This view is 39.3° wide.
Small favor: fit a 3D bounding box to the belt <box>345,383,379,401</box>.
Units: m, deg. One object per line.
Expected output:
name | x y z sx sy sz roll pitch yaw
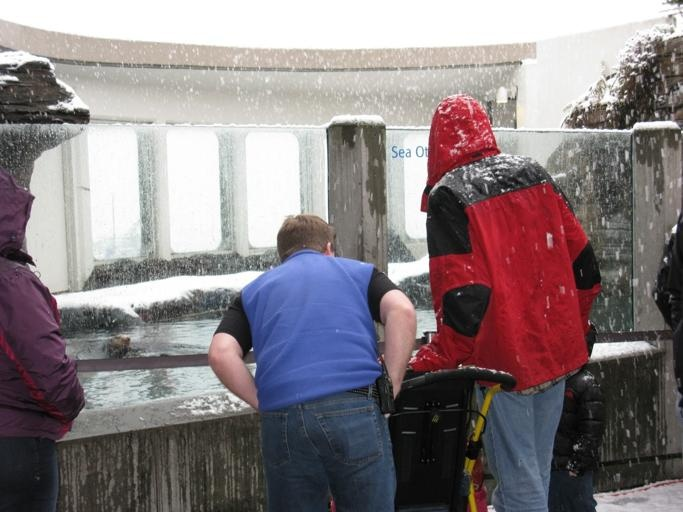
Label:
belt | 0.165 0.862 6.046 0.120 0.083 0.107 -3 -4 8
